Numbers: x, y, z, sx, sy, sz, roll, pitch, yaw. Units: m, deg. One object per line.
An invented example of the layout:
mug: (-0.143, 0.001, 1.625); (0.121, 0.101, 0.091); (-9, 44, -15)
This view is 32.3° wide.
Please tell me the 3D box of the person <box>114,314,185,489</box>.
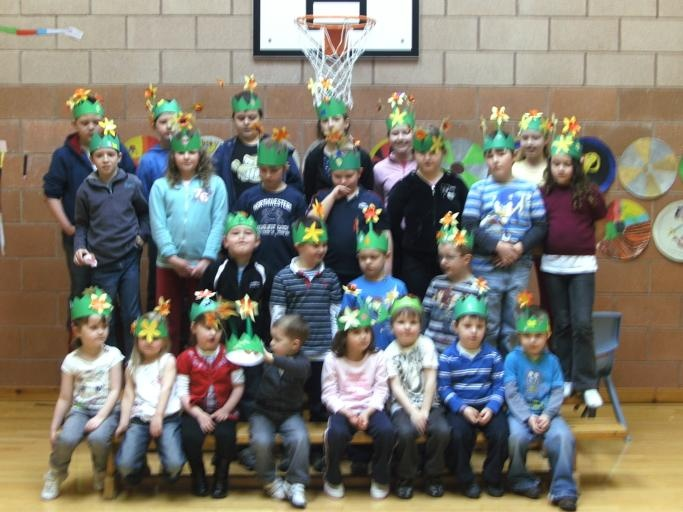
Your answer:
person: (-1.088, 0.791, 6.726); (0.378, 0.948, 0.308); (-1, 4, -9)

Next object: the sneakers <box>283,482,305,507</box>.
sneakers: (-0.257, 1.317, 6.598); (0.116, 0.125, 0.154); (-1, 4, -5)

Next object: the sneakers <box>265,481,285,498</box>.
sneakers: (-0.364, 1.302, 6.654); (0.116, 0.075, 0.042); (32, 9, 0)

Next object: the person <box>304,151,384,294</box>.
person: (0.049, -0.107, 7.350); (0.476, 1.140, 0.337); (0, 14, 1)

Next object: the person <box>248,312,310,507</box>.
person: (-0.354, 0.852, 6.699); (0.354, 1.038, 0.362); (0, 4, 10)

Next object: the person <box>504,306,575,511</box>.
person: (1.111, 0.950, 6.703); (0.397, 0.866, 0.388); (0, 4, 8)

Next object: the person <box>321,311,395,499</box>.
person: (0.086, 0.816, 6.710); (0.407, 1.054, 0.249); (-1, 4, -1)

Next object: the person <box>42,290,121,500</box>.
person: (-1.470, 0.778, 6.727); (0.450, 1.121, 0.269); (-1, 4, -11)
